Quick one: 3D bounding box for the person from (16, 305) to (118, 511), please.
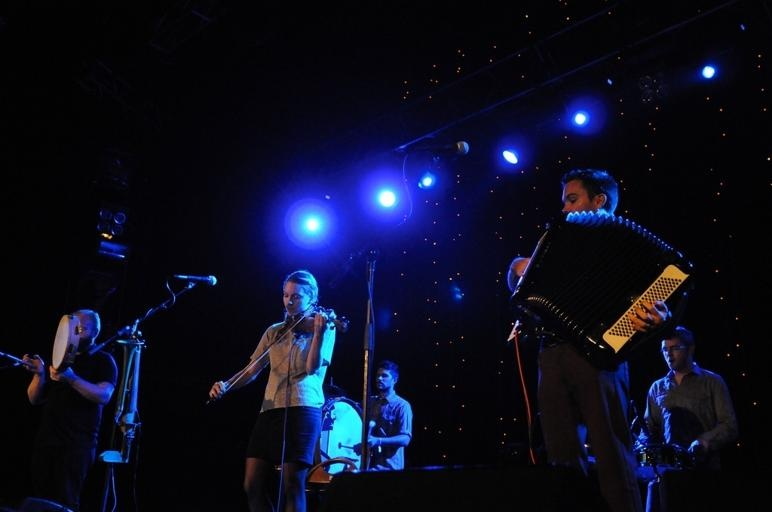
[{"bbox_3d":[-3.696,1.701,7.510,0.975,2.249,0.712,5,-30,-8],"label":"person"}]

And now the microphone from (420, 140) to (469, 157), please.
[{"bbox_3d":[0.755,-1.277,7.742,0.701,0.205,0.210,-1,-5,25],"label":"microphone"}]

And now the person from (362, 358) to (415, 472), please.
[{"bbox_3d":[0.076,2.013,8.303,0.575,1.382,0.623,2,-30,-2],"label":"person"}]

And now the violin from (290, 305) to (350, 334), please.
[{"bbox_3d":[-0.663,0.649,6.793,0.512,0.176,0.281,15,-34,2],"label":"violin"}]
